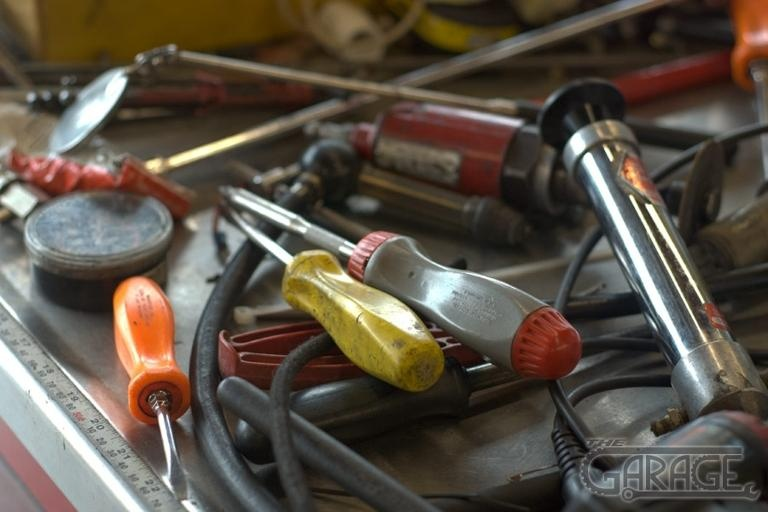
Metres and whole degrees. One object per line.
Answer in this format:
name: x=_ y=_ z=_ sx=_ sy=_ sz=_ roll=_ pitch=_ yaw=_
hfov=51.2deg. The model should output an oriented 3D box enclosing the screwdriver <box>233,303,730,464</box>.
screwdriver: x=-0.013 y=0.100 z=0.723 sx=0.177 sy=0.091 sz=0.175 roll=-14 pitch=23 yaw=-40
